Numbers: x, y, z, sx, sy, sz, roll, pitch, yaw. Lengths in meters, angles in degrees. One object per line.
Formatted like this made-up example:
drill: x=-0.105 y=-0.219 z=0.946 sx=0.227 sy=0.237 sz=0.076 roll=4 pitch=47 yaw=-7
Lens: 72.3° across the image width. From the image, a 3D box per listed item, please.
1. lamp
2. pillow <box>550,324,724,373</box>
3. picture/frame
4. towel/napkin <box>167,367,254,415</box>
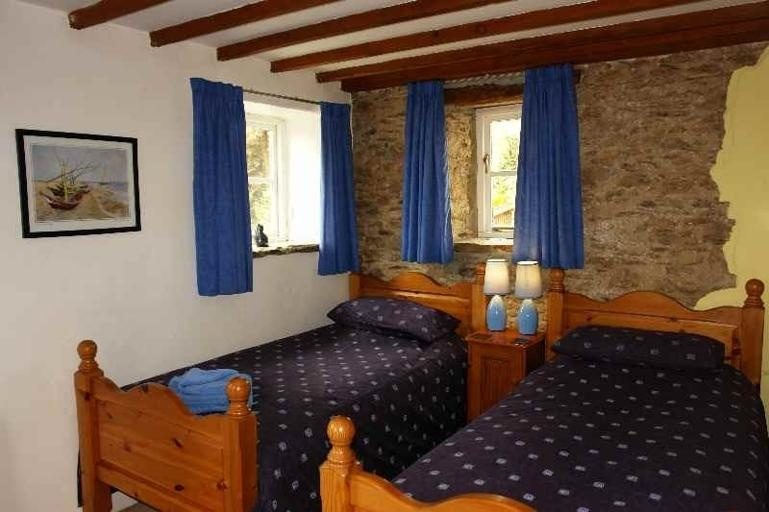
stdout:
lamp: x=1.101 y=0.340 z=4.476 sx=0.728 sy=0.694 sz=0.320 roll=4 pitch=13 yaw=23
pillow: x=1.844 y=0.666 z=3.824 sx=0.787 sy=0.110 sz=0.438 roll=1 pitch=7 yaw=27
picture/frame: x=-2.095 y=-0.498 z=3.656 sx=0.045 sy=0.709 sz=0.863 roll=13 pitch=14 yaw=27
towel/napkin: x=-1.117 y=0.843 z=3.318 sx=0.466 sy=0.128 sz=0.412 roll=2 pitch=9 yaw=8
